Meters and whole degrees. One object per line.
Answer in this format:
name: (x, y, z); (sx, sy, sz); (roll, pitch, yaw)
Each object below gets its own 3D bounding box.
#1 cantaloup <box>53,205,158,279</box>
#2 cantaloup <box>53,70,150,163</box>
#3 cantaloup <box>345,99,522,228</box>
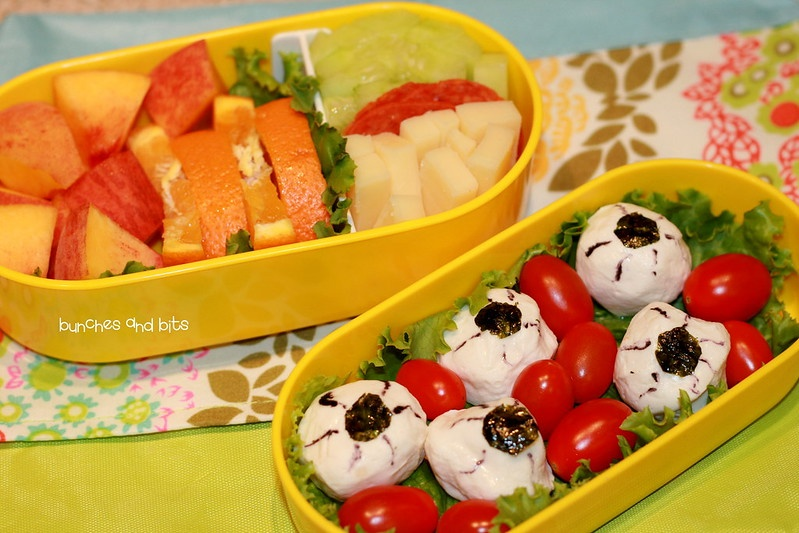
cantaloup: (-0.876, -0.077, 2.396); (0.307, 0.196, 0.156); (-11, -2, -23)
cantaloup: (-0.939, -0.509, 2.564); (0.241, 0.280, 0.331); (7, 33, 21)
cantaloup: (0.107, -0.372, 2.578); (0.452, 0.345, 0.602); (-17, 29, -24)
